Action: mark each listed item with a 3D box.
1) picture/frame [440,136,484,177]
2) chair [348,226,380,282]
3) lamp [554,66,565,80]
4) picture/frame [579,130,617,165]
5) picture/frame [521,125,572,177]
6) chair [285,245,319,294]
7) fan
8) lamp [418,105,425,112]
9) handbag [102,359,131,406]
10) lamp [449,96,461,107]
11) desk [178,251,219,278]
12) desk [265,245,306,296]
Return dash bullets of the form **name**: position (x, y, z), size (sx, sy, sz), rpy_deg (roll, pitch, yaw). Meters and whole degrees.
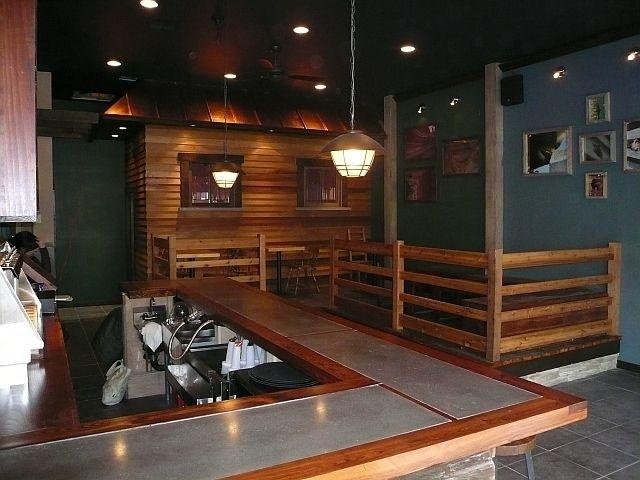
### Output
- **picture/frame**: position (2.288, -1.348, 7.686), size (0.105, 0.617, 0.749), rpy_deg (-2, 5, -28)
- **chair**: position (0.914, 0.345, 9.737), size (0.696, 1.119, 1.900), rpy_deg (-1, 8, 3)
- **lamp**: position (3.142, -2.223, 6.401), size (0.106, 0.138, 0.196), rpy_deg (-7, 9, -32)
- **picture/frame**: position (3.434, -1.153, 5.941), size (0.041, 0.481, 0.500), rpy_deg (-1, 3, -27)
- **picture/frame**: position (3.097, -1.221, 6.546), size (0.067, 0.742, 0.820), rpy_deg (-1, 2, -30)
- **chair**: position (-0.352, 0.579, 9.365), size (0.698, 0.863, 0.663), rpy_deg (-1, 6, -41)
- **fan**: position (-0.506, -2.345, 6.648), size (1.101, 0.531, 1.933), rpy_deg (-1, 7, -1)
- **lamp**: position (1.720, -2.293, 8.325), size (0.104, 0.108, 0.107), rpy_deg (-3, 14, -24)
- **handbag**: position (-2.070, 1.471, 4.957), size (0.228, 0.410, 0.338), rpy_deg (19, 5, -27)
- **lamp**: position (2.167, -2.231, 7.752), size (0.139, 0.112, 0.121), rpy_deg (-4, 0, 4)
- **desk**: position (-2.002, 0.405, 7.975), size (0.654, 0.449, 1.509), rpy_deg (-3, 8, -15)
- **desk**: position (-0.749, 0.520, 9.204), size (0.875, 0.808, 0.870), rpy_deg (1, 0, 26)
